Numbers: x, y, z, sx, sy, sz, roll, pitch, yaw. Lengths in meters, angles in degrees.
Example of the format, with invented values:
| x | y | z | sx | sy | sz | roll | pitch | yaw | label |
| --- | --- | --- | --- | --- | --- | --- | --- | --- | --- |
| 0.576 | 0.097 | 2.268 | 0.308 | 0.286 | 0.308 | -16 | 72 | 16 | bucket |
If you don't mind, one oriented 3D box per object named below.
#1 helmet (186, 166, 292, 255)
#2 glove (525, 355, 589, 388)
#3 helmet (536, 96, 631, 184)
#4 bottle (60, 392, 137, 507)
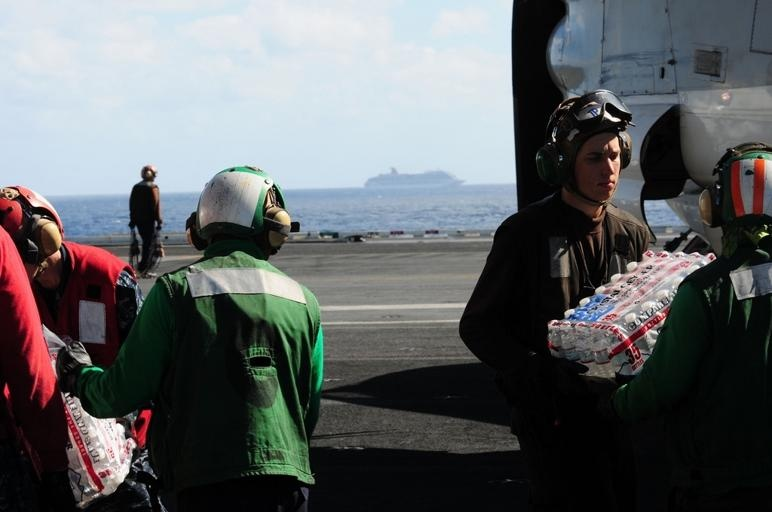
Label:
| x | y | z | sx | sy | sz | roll | pitch | yaw | label |
| --- | --- | --- | --- | --- | --- | --- | --- | --- | --- |
| -0.724 | -0.220 | 4.497 | 0.547 | 0.477 | 0.569 | 4 | -4 | 10 | helmet |
| 0.823 | 0.555 | 4.315 | 0.204 | 0.075 | 0.155 | 7 | -2 | -21 | glove |
| 1.064 | -0.625 | 4.745 | 0.476 | 0.464 | 0.455 | -3 | -6 | -26 | helmet |
| -1.446 | 0.986 | 4.516 | 0.143 | 0.495 | 0.427 | -10 | -28 | 40 | bottle |
